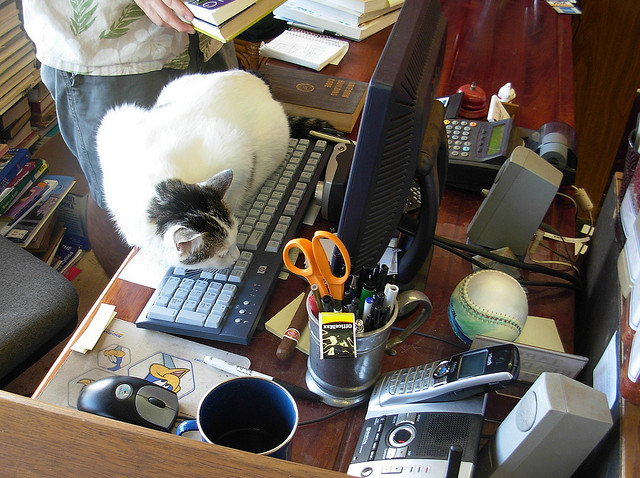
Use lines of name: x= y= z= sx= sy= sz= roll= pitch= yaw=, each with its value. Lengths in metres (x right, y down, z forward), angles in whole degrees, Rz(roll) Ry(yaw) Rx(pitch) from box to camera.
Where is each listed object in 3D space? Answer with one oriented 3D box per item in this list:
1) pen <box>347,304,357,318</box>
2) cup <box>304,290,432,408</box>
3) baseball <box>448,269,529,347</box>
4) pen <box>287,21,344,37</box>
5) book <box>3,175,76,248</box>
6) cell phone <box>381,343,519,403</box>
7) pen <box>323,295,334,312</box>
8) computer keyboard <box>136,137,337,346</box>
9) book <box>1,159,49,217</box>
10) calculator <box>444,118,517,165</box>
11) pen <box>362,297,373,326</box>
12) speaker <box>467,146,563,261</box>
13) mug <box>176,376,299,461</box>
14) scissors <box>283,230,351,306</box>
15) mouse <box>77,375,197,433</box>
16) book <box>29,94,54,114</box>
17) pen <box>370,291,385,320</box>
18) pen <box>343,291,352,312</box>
pen: x=0.049 y=0.108 z=0.758 sx=0.015 sy=0.016 sz=0.012 roll=14 pitch=52 yaw=10
cup: x=0.097 y=0.179 z=0.867 sx=0.184 sy=0.177 sz=0.115 roll=-12 pitch=36 yaw=-25
baseball: x=0.303 y=0.120 z=0.937 sx=0.128 sy=0.139 sz=0.136 roll=14 pitch=41 yaw=11
pen: x=-0.007 y=-0.683 z=1.613 sx=0.168 sy=0.019 sz=0.019 roll=21 pitch=10 yaw=12
book: x=-1.086 y=-0.108 z=1.927 sx=0.248 sy=0.028 sz=0.282 roll=-12 pitch=44 yaw=53
cell phone: x=0.195 y=0.219 z=0.788 sx=0.263 sy=0.036 sz=0.097 roll=-18 pitch=48 yaw=37
pen: x=0.013 y=0.098 z=0.756 sx=0.016 sy=0.019 sz=0.020 roll=-3 pitch=51 yaw=-4
computer keyboard: x=-0.149 y=-0.038 z=1.075 sx=0.214 sy=0.056 sz=0.608 roll=15 pitch=54 yaw=10
book: x=-1.113 y=-0.196 z=1.867 sx=0.040 sy=0.164 sz=0.165 roll=43 pitch=76 yaw=-8
calculator: x=0.357 y=-0.234 z=1.179 sx=0.174 sy=0.054 sz=0.136 roll=18 pitch=65 yaw=26
pen: x=0.075 y=0.113 z=0.771 sx=0.014 sy=0.058 sz=0.013 roll=4 pitch=33 yaw=-7
speaker: x=0.392 y=-0.059 z=1.026 sx=0.130 sy=0.188 sz=0.166 roll=25 pitch=54 yaw=18
mug: x=-0.100 y=0.267 z=0.716 sx=0.138 sy=0.109 sz=0.109 roll=17 pitch=53 yaw=12
scissors: x=0.004 y=0.032 z=0.777 sx=0.108 sy=0.092 sz=0.078 roll=29 pitch=56 yaw=20
mouse: x=-0.281 y=0.255 z=0.788 sx=0.177 sy=0.045 sz=0.089 roll=12 pitch=34 yaw=-3
book: x=-1.234 y=-0.597 z=2.218 sx=0.079 sy=0.021 sz=0.085 roll=20 pitch=50 yaw=15
pen: x=0.089 y=0.101 z=0.772 sx=0.013 sy=0.033 sz=0.033 roll=19 pitch=53 yaw=14
pen: x=0.043 y=0.097 z=0.763 sx=0.010 sy=0.039 sz=0.009 roll=-27 pitch=45 yaw=-29
